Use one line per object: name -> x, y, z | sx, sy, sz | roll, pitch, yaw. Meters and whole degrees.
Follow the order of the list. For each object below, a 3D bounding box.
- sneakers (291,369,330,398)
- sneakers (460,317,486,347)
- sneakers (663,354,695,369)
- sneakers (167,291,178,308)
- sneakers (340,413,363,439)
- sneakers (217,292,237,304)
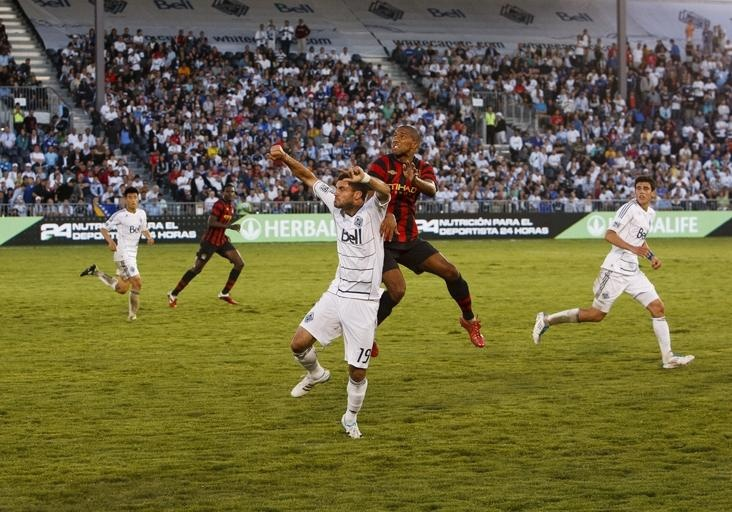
sneakers -> -0.818, 1.884, 16.927 | 0.533, 0.184, 0.226 | -36, -25, 12
sneakers -> 1.781, 1.298, 19.470 | 0.177, 0.481, 0.225 | -29, -5, -40
sneakers -> 4.932, 1.665, 18.281 | 0.526, 0.220, 0.194 | -11, 26, -1
sneakers -> -3.817, 0.865, 22.511 | 0.176, 0.356, 0.137 | 2, 17, 23
sneakers -> -0.215, 2.379, 15.973 | 0.186, 0.168, 0.441 | -15, 44, -22
sneakers -> -2.798, 0.856, 23.119 | 0.469, 0.207, 0.164 | 26, 37, -30
